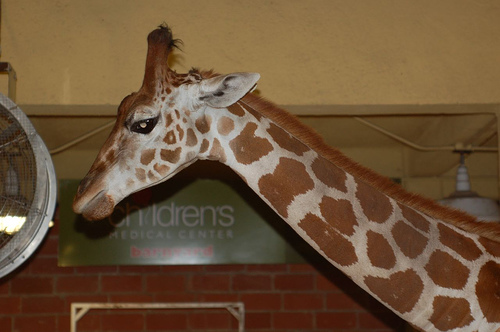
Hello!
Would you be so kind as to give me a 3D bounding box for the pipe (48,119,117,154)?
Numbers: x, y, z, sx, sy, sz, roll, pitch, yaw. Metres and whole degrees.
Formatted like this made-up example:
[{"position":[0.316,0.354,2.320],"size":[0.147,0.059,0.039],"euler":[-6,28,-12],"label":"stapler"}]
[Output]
[{"position":[-1.835,-0.333,11.135],"size":[0.619,0.074,0.066],"euler":[-29,58,8],"label":"pipe"}]
